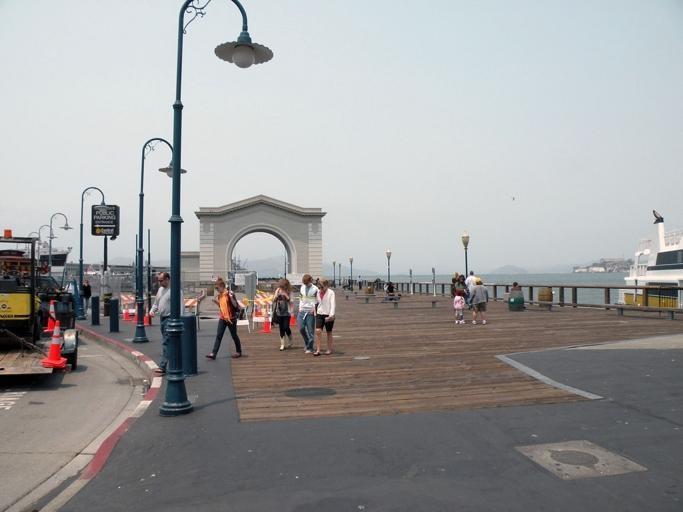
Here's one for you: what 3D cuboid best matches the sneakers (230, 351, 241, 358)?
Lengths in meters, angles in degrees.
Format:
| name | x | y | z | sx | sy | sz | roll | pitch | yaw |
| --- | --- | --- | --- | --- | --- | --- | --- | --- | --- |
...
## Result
| name | x | y | z | sx | sy | sz | roll | pitch | yaw |
| --- | --- | --- | --- | --- | --- | --- | --- | --- | --- |
| sneakers | -2.614 | 2.378 | 15.664 | 0.291 | 0.229 | 0.110 | 9 | -12 | -26 |

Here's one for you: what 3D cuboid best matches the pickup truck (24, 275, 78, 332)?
| name | x | y | z | sx | sy | sz | roll | pitch | yaw |
| --- | --- | --- | --- | --- | --- | --- | --- | --- | --- |
| pickup truck | -9.911 | 1.488 | 21.550 | 2.284 | 1.477 | 1.373 | 12 | 6 | 41 |

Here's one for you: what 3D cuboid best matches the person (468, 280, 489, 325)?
| name | x | y | z | sx | sy | sz | roll | pitch | yaw |
| --- | --- | --- | --- | --- | --- | --- | --- | --- | --- |
| person | 4.742 | 1.526 | 22.275 | 0.572 | 1.669 | 0.612 | 6 | -17 | -6 |

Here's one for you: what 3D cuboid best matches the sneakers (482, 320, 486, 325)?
| name | x | y | z | sx | sy | sz | roll | pitch | yaw |
| --- | --- | --- | --- | --- | --- | --- | --- | --- | --- |
| sneakers | 4.950 | 2.291 | 22.459 | 0.105 | 0.262 | 0.345 | 0 | -4 | 10 |

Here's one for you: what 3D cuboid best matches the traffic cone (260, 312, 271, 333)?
| name | x | y | z | sx | sy | sz | roll | pitch | yaw |
| --- | --- | --- | --- | --- | --- | --- | --- | --- | --- |
| traffic cone | -2.613 | 2.264 | 21.682 | 0.432 | 0.688 | 0.468 | 1 | -5 | -7 |

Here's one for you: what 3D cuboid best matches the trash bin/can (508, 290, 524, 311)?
| name | x | y | z | sx | sy | sz | roll | pitch | yaw |
| --- | --- | --- | --- | --- | --- | --- | --- | --- | --- |
| trash bin/can | 7.698 | 1.946 | 28.450 | 0.664 | 1.221 | 0.785 | -2 | -2 | 15 |

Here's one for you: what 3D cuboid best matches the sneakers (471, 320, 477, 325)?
| name | x | y | z | sx | sy | sz | roll | pitch | yaw |
| --- | --- | --- | --- | --- | --- | --- | --- | --- | --- |
| sneakers | 4.626 | 2.286 | 22.465 | 0.112 | 0.164 | 0.356 | 2 | 6 | 4 |

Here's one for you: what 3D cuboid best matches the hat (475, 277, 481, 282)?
| name | x | y | z | sx | sy | sz | roll | pitch | yaw |
| --- | --- | --- | --- | --- | --- | --- | --- | --- | --- |
| hat | 5.010 | 0.855 | 23.571 | 0.167 | 0.214 | 0.198 | -1 | -13 | -2 |
